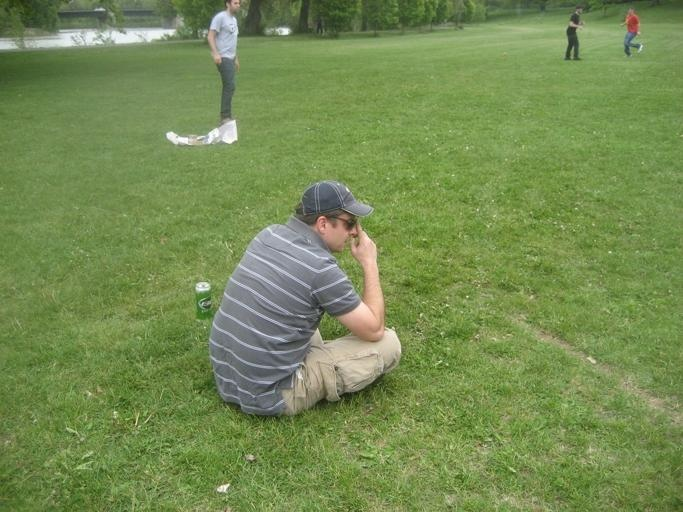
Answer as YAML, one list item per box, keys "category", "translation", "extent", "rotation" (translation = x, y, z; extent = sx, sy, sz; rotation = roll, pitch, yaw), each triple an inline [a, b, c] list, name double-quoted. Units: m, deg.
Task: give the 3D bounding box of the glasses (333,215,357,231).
- category: "glasses"
  translation: [0.074, -0.382, 7.016]
  extent: [0.173, 0.056, 0.172]
  rotation: [28, 8, 38]
